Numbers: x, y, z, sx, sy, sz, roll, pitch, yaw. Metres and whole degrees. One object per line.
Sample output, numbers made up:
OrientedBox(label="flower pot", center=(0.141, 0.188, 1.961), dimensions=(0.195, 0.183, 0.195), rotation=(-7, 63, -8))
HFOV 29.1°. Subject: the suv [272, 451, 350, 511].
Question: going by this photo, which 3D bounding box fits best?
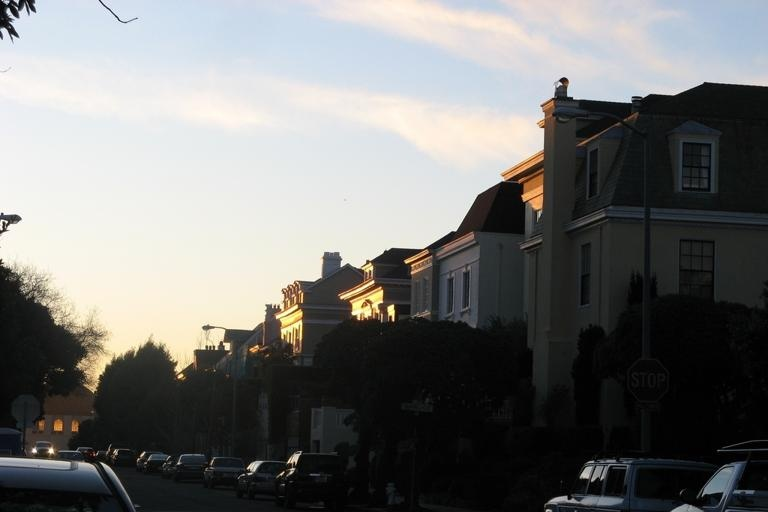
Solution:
OrientedBox(label="suv", center=(-3.110, 9.314, 62.863), dimensions=(1.912, 1.519, 3.133), rotation=(1, -1, -9))
